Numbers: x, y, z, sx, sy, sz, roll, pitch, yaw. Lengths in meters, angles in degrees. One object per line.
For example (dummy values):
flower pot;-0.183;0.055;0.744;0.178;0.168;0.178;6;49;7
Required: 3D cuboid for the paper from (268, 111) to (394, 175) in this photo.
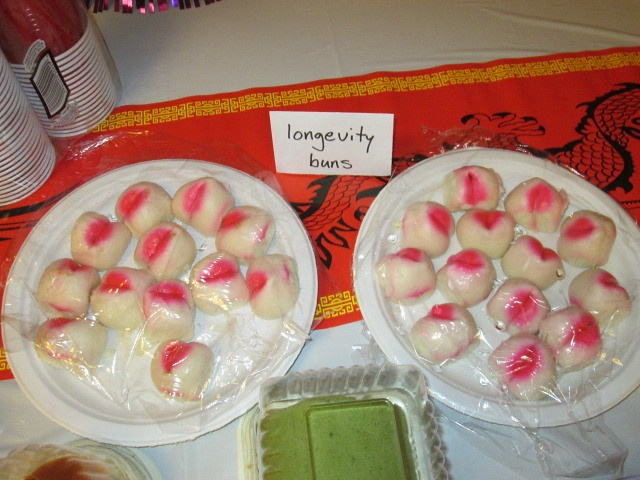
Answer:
paper;0.022;-0.154;0.740;0.136;0.096;0.007;1;46;1
